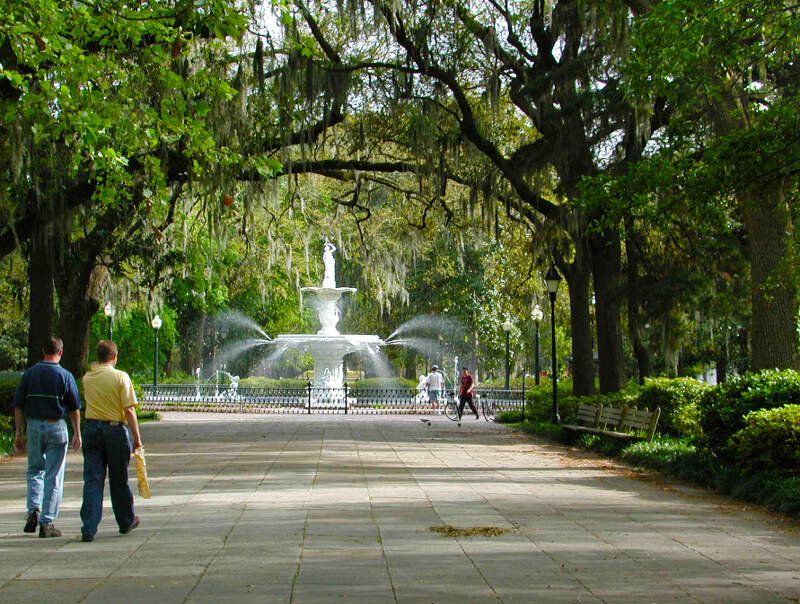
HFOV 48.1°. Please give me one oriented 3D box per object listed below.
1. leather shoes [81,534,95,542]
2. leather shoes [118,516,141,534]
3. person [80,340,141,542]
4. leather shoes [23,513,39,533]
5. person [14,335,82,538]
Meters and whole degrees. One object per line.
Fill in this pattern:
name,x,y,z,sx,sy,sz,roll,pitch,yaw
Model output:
leather shoes,-3.620,2.730,10.459,0.056,0.081,0.170,1,1,3
leather shoes,-3.260,2.675,10.889,0.089,0.141,0.282,2,17,11
person,-3.457,1.618,10.771,0.683,2.328,0.829,0,-2,-21
leather shoes,-4.423,2.660,10.845,0.141,0.291,0.257,2,-1,-5
person,-4.298,1.609,10.976,0.903,2.370,0.665,-1,-2,30
